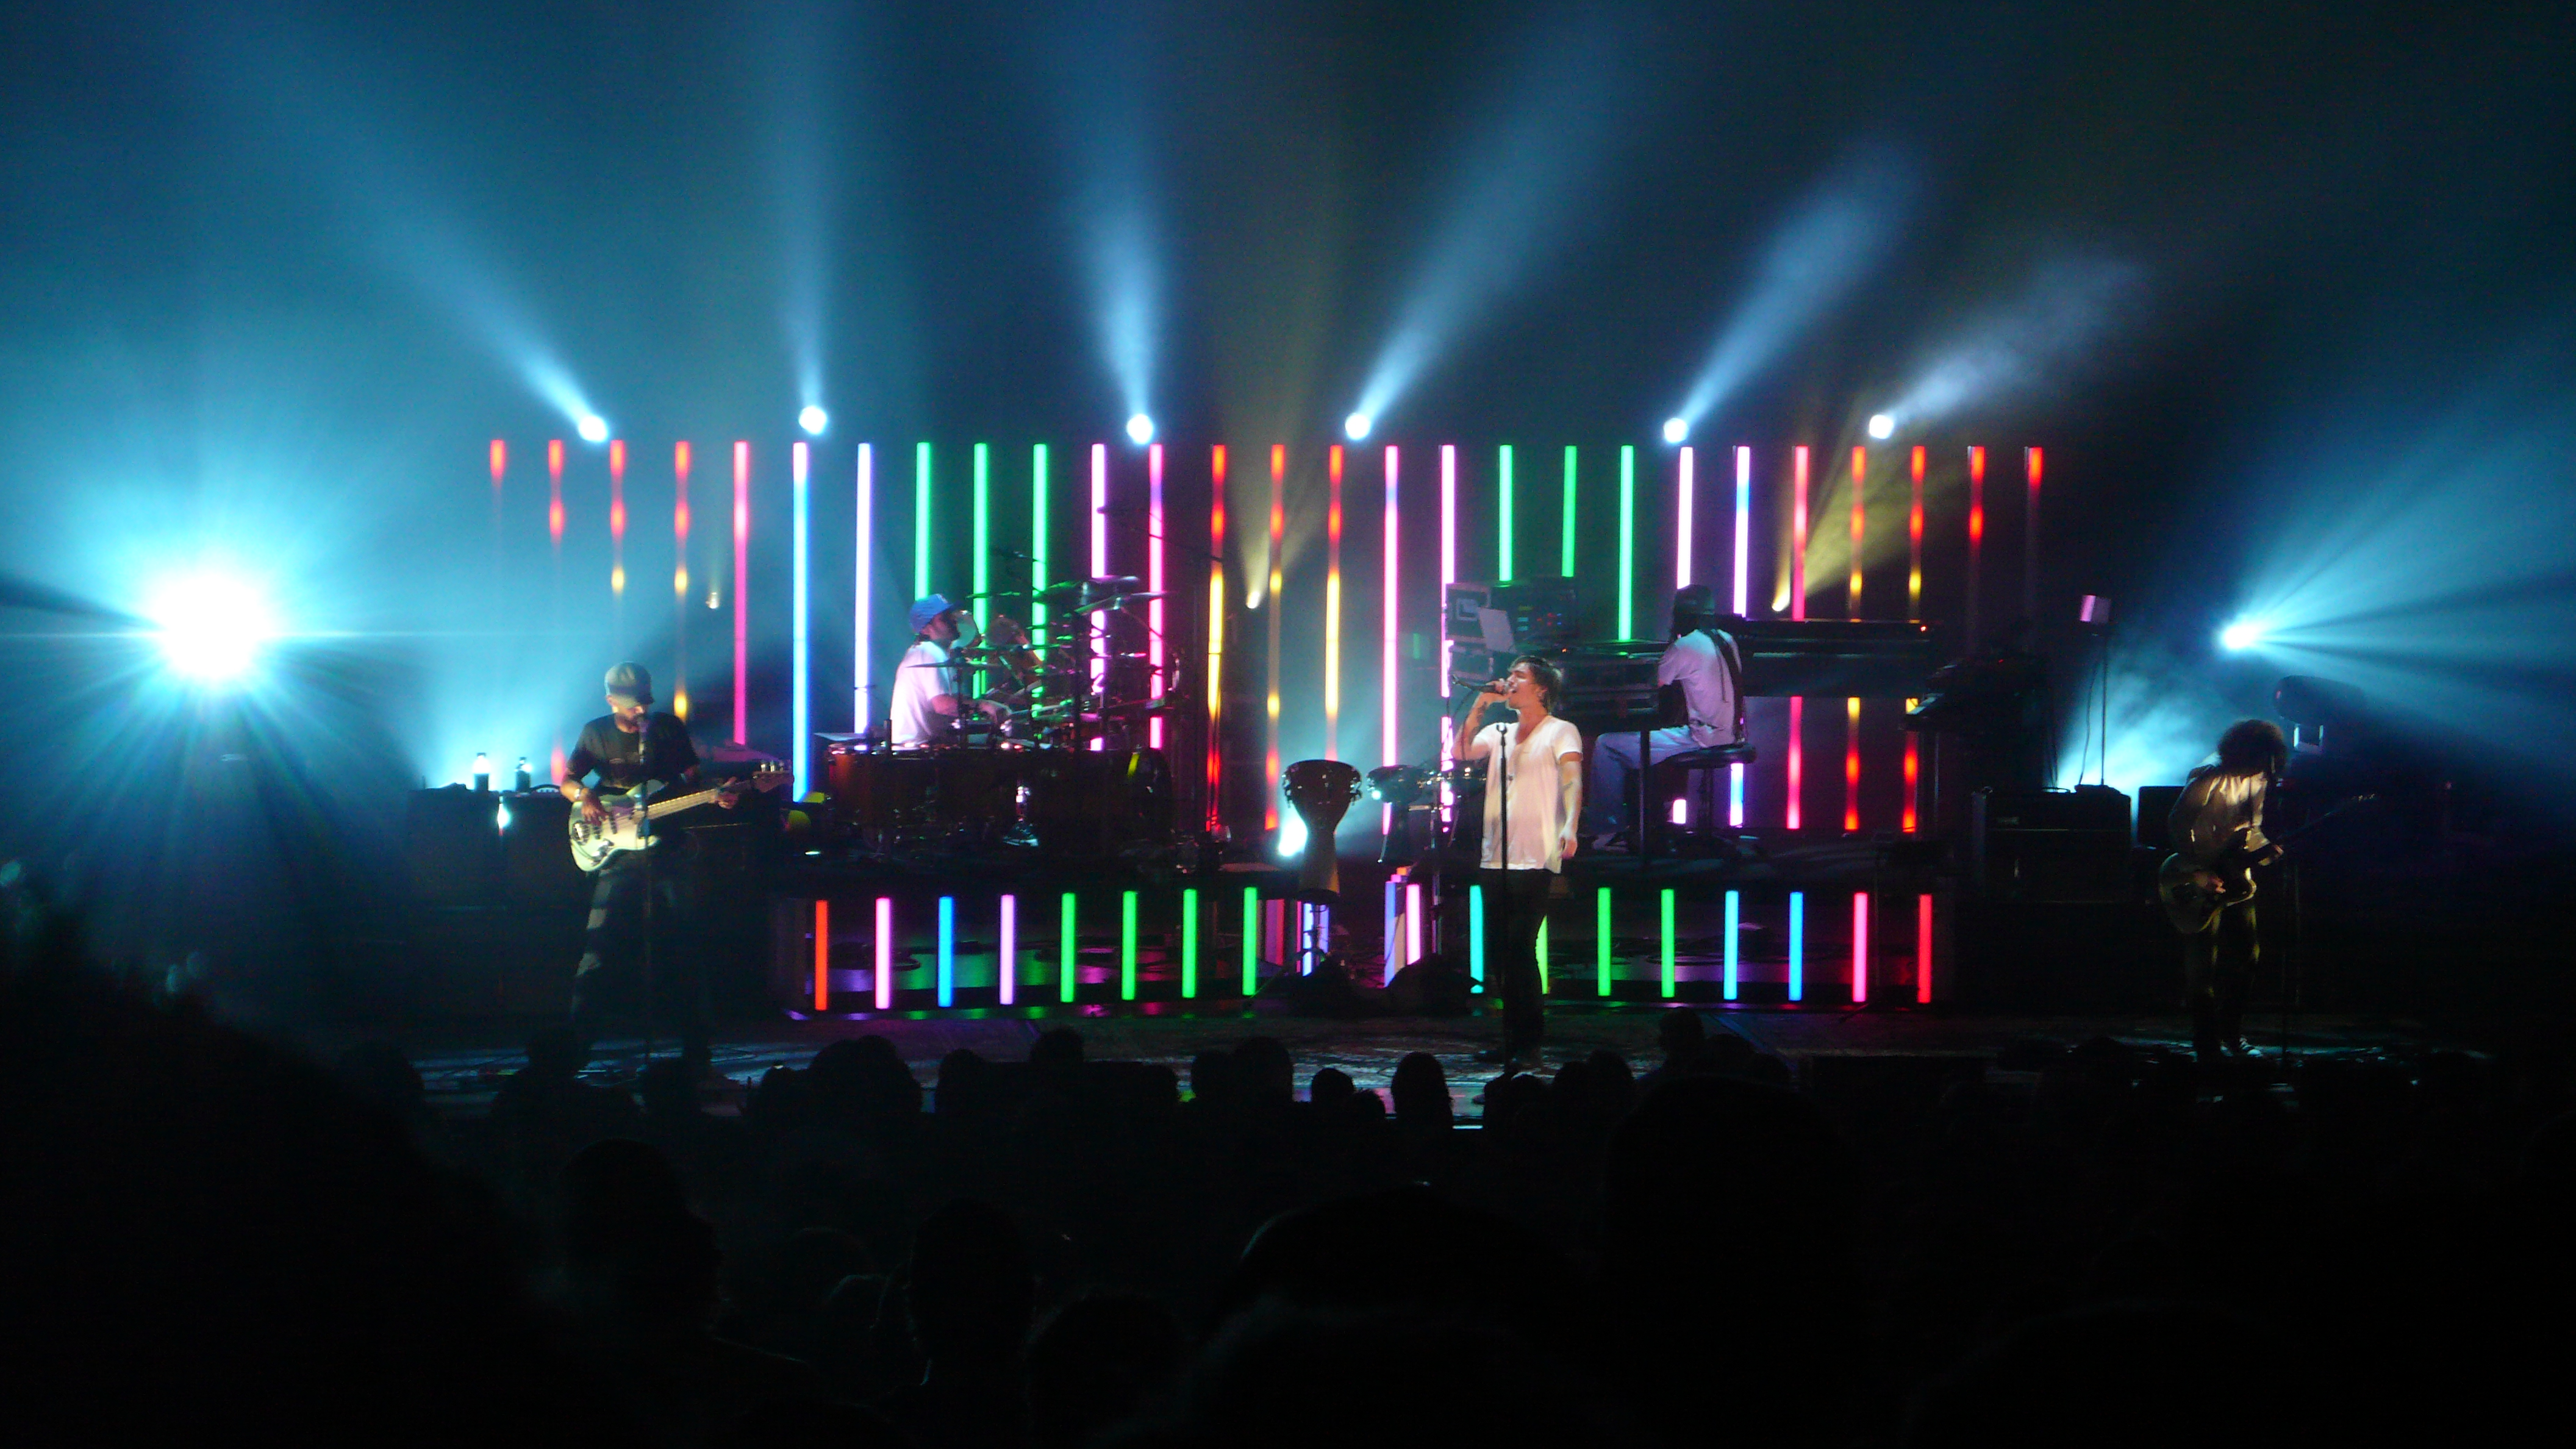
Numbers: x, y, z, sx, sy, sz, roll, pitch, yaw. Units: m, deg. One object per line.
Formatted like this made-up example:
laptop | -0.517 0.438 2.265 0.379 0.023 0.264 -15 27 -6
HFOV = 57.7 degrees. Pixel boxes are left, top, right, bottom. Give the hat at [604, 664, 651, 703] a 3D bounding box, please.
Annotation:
hat | -4.610 -0.294 16.336 0.281 0.293 0.329 2 12 13

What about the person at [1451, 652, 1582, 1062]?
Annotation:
person | 1.573 0.900 15.856 0.610 2.789 0.904 3 -16 -22

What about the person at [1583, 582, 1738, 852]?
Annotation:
person | 2.908 -0.053 18.659 1.126 2.091 1.517 0 -14 -13

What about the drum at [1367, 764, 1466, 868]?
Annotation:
drum | 0.969 0.671 17.913 0.870 0.829 0.643 1 -1 0

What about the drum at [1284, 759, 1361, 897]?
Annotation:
drum | 0.257 0.751 17.704 0.519 1.068 0.376 -3 -15 -2

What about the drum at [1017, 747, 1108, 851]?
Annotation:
drum | -1.659 0.599 18.166 0.790 0.718 0.747 0 -2 -1

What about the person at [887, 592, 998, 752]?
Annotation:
person | -2.795 -0.421 18.738 0.774 1.429 0.931 5 -16 -29

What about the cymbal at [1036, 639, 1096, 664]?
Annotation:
cymbal | -1.775 -0.557 18.829 0.523 0.226 0.219 -1 -14 -6

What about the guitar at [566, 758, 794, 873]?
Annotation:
guitar | -4.267 0.616 16.144 1.282 0.788 0.423 1 -15 -16

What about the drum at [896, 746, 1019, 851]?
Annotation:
drum | -2.524 0.545 17.956 0.933 0.676 0.338 -1 -14 -7

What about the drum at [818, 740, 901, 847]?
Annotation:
drum | -3.303 0.582 17.977 0.364 0.798 0.787 8 -18 -37

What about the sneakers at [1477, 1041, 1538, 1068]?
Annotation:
sneakers | 1.470 2.236 15.878 0.449 0.164 0.161 0 -5 30
